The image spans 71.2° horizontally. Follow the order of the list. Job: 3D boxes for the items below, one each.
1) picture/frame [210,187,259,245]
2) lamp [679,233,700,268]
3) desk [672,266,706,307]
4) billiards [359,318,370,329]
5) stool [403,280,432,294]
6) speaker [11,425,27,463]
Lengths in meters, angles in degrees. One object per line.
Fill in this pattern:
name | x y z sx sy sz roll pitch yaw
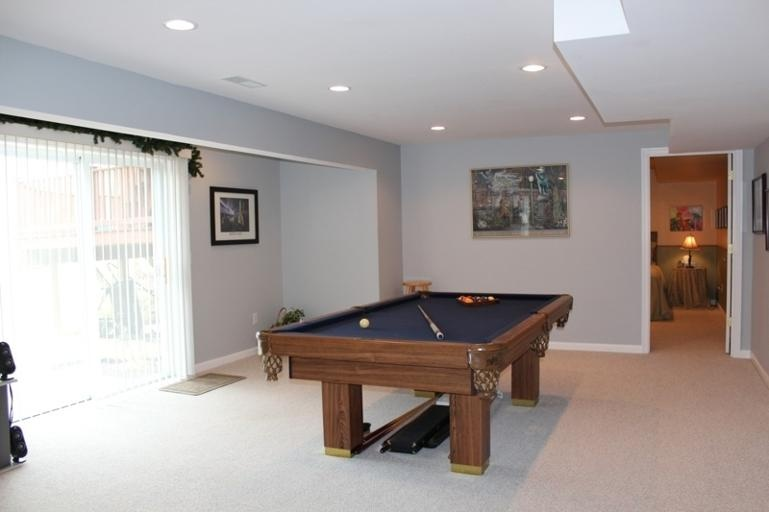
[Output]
picture/frame | -2.015 -0.543 7.219 0.035 0.728 0.749 4 5 39
lamp | 6.173 -0.110 10.910 0.255 0.614 0.581 3 9 29
desk | 6.041 0.614 10.839 0.729 0.752 0.797 -1 4 7
billiards | -0.162 0.552 4.406 0.077 0.069 0.047 10 -31 -26
stool | 0.456 0.415 7.526 0.254 0.267 0.251 0 5 20
speaker | -3.092 1.565 4.530 0.114 0.282 0.194 -7 10 -34
